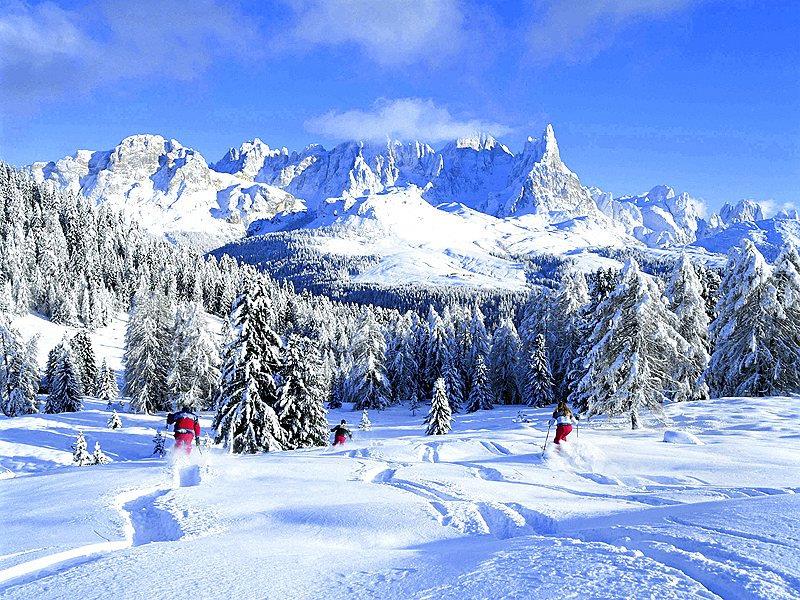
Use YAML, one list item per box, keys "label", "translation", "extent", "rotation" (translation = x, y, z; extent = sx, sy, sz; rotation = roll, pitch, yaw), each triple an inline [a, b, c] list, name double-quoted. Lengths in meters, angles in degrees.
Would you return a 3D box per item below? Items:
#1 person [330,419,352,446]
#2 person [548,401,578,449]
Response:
- label: "person"
  translation: [-3.350, 7.474, 42.522]
  extent: [0.770, 1.652, 2.137]
  rotation: [-1, 5, -1]
- label: "person"
  translation: [8.178, 6.230, 37.338]
  extent: [1.111, 2.565, 1.154]
  rotation: [2, 5, -5]
